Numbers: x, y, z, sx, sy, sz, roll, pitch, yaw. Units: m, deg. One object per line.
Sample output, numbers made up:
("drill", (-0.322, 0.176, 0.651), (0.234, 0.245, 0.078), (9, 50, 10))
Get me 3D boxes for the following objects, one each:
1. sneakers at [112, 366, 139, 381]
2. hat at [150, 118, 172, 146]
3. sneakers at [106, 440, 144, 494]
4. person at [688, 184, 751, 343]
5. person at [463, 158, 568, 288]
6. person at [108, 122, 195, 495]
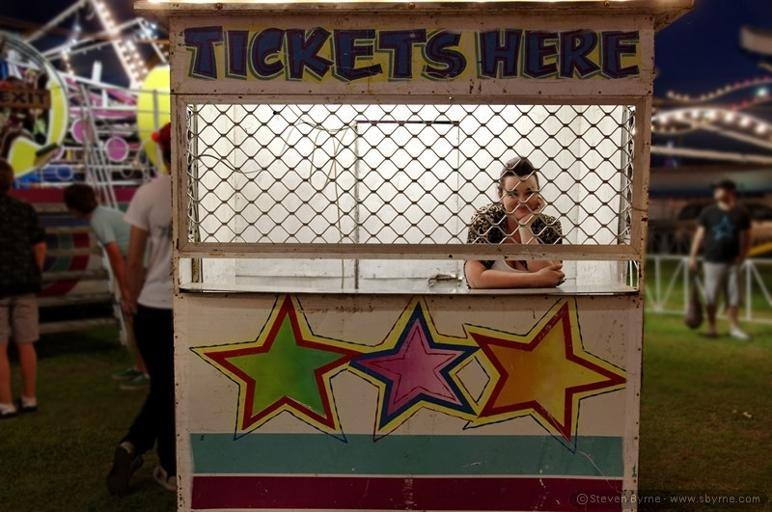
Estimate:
("sneakers", (-2.690, 1.237, 8.112), (0.239, 0.099, 0.130), (3, -2, -12))
("hat", (-1.791, -0.969, 6.309), (0.208, 0.281, 0.255), (1, 6, -10))
("sneakers", (-2.126, 1.706, 6.449), (0.176, 0.185, 0.442), (-31, 18, -2))
("person", (3.641, 0.066, 8.507), (0.258, 1.623, 0.723), (0, 4, -33))
("person", (1.004, -0.161, 6.468), (1.023, 1.392, 0.922), (0, -9, 2))
("person", (-1.914, 0.649, 6.319), (0.514, 2.588, 0.245), (2, 3, 7))
